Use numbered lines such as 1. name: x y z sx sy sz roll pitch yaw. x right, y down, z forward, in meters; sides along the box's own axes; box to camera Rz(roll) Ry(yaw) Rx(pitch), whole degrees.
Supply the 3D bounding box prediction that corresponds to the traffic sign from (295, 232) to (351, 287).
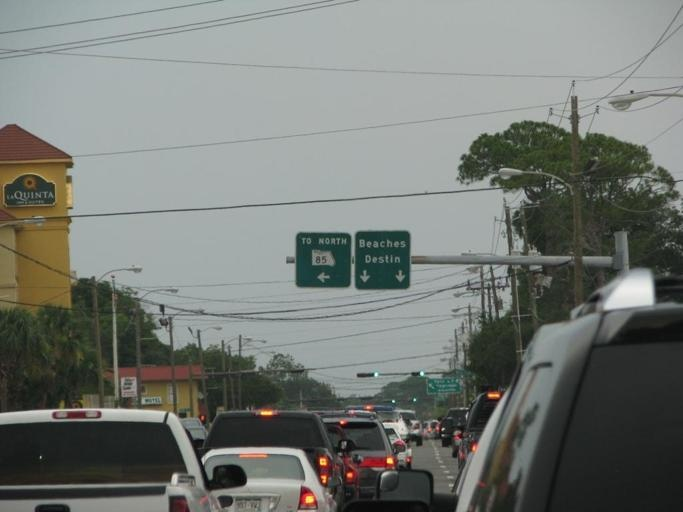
1. traffic sign: -0.783 0.205 69.471 1.873 2.144 0.273 2 -8 -6
